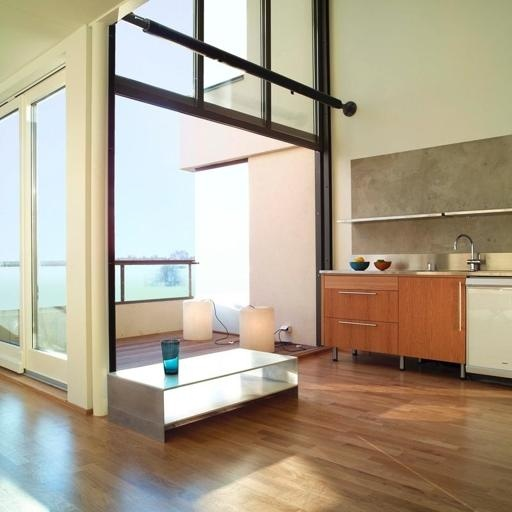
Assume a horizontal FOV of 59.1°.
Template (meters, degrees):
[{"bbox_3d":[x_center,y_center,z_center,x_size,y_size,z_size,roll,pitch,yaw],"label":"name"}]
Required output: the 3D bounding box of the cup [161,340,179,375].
[{"bbox_3d":[-0.502,0.583,2.662,0.093,0.206,0.201,0,-1,-10],"label":"cup"}]

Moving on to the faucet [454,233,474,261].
[{"bbox_3d":[1.829,-0.098,3.970,0.174,0.243,0.288,0,-1,24],"label":"faucet"}]

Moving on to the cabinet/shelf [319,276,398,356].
[{"bbox_3d":[1.003,0.456,4.235,0.708,0.762,0.407,2,16,22],"label":"cabinet/shelf"}]

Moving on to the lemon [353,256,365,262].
[{"bbox_3d":[1.005,0.022,4.391,0.067,0.053,0.116,-5,-1,19],"label":"lemon"}]

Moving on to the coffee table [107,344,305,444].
[{"bbox_3d":[-0.303,0.815,2.867,0.597,0.275,1.129,-1,-2,42],"label":"coffee table"}]

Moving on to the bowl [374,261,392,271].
[{"bbox_3d":[1.202,0.084,4.300,0.151,0.091,0.120,0,-1,-8],"label":"bowl"}]
